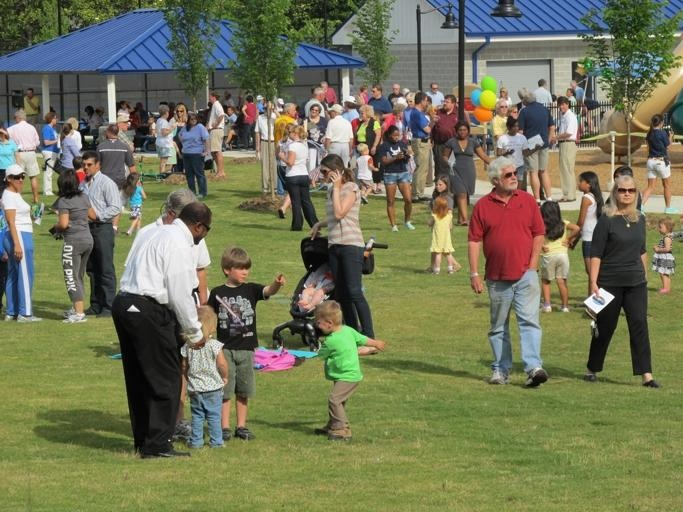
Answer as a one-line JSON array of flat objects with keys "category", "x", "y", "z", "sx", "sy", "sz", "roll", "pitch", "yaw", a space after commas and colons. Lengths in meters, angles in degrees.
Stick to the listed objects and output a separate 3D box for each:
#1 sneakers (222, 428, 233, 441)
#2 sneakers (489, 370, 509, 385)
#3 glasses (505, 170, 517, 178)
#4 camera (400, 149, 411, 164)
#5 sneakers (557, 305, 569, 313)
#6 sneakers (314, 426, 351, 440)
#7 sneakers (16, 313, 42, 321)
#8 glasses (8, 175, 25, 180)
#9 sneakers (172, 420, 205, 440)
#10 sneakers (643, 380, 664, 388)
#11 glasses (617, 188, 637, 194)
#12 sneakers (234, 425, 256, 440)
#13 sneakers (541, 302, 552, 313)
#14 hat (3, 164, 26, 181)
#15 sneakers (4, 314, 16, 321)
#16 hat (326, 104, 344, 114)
[{"category": "sneakers", "x": -1.661, "y": 2.561, "z": 22.530, "sx": 0.131, "sy": 0.177, "sz": 0.285, "roll": 1, "pitch": 3, "yaw": 13}, {"category": "sneakers", "x": 2.462, "y": 1.889, "z": 24.252, "sx": 0.287, "sy": 0.214, "sz": 0.181, "roll": 8, "pitch": 2, "yaw": 4}, {"category": "glasses", "x": 2.630, "y": -1.246, "z": 23.910, "sx": 0.112, "sy": 0.092, "sz": 0.280, "roll": 2, "pitch": 4, "yaw": 36}, {"category": "camera", "x": 1.348, "y": -2.081, "z": 32.513, "sx": 0.167, "sy": 0.230, "sz": 0.108, "roll": -7, "pitch": 6, "yaw": -41}, {"category": "sneakers", "x": 3.922, "y": 0.933, "z": 27.432, "sx": 0.105, "sy": 0.122, "sz": 0.280, "roll": 2, "pitch": -6, "yaw": 3}, {"category": "sneakers", "x": -0.127, "y": 2.551, "z": 22.642, "sx": 0.539, "sy": 0.234, "sz": 0.197, "roll": 4, "pitch": -3, "yaw": 8}, {"category": "sneakers", "x": -5.399, "y": 1.054, "z": 26.862, "sx": 0.422, "sy": 0.162, "sz": 0.142, "roll": 0, "pitch": 3, "yaw": -13}, {"category": "glasses", "x": -5.581, "y": -1.338, "z": 26.664, "sx": 0.223, "sy": 0.114, "sz": 0.591, "roll": 0, "pitch": 3, "yaw": 12}, {"category": "sneakers", "x": -2.197, "y": 2.533, "z": 22.571, "sx": 0.506, "sy": 0.226, "sz": 0.201, "roll": -1, "pitch": -1, "yaw": 17}, {"category": "sneakers", "x": 4.842, "y": 1.982, "z": 24.143, "sx": 0.226, "sy": 0.091, "sz": 0.117, "roll": 0, "pitch": 9, "yaw": 8}, {"category": "glasses", "x": 4.406, "y": -1.003, "z": 23.965, "sx": 0.264, "sy": 0.073, "sz": 0.083, "roll": 0, "pitch": 3, "yaw": 10}, {"category": "sneakers", "x": -1.399, "y": 2.568, "z": 22.562, "sx": 0.288, "sy": 0.125, "sz": 0.148, "roll": 2, "pitch": 4, "yaw": 27}, {"category": "sneakers", "x": 3.635, "y": 0.902, "z": 27.434, "sx": 0.181, "sy": 0.166, "sz": 0.230, "roll": 0, "pitch": 3, "yaw": 5}, {"category": "hat", "x": -5.626, "y": -1.432, "z": 26.608, "sx": 0.345, "sy": 0.238, "sz": 0.459, "roll": 0, "pitch": -2, "yaw": -36}, {"category": "sneakers", "x": -5.761, "y": 1.072, "z": 26.931, "sx": 0.192, "sy": 0.125, "sz": 0.097, "roll": 0, "pitch": 2, "yaw": 10}, {"category": "hat", "x": -0.209, "y": -3.429, "z": 36.513, "sx": 0.376, "sy": 0.193, "sz": 0.253, "roll": 11, "pitch": 12, "yaw": 26}]
